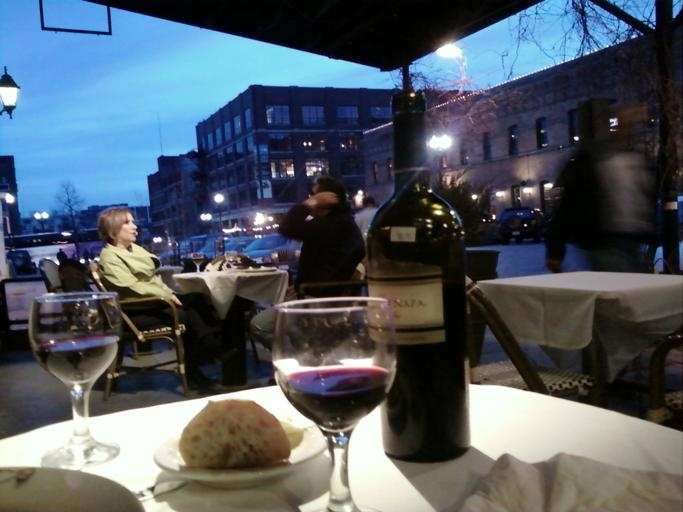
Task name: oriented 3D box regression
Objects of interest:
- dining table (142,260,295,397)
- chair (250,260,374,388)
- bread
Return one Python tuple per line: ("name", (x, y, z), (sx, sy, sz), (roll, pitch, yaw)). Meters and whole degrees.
("dining table", (-1.138, 0.702, 5.499), (1.072, 0.964, 1.113), (0, -3, -21))
("chair", (-0.258, 0.484, 4.018), (0.812, 1.021, 0.758), (3, -7, -8))
("bread", (-0.153, 0.238, 0.746), (0.108, 0.035, 0.097), (2, 8, 4))
